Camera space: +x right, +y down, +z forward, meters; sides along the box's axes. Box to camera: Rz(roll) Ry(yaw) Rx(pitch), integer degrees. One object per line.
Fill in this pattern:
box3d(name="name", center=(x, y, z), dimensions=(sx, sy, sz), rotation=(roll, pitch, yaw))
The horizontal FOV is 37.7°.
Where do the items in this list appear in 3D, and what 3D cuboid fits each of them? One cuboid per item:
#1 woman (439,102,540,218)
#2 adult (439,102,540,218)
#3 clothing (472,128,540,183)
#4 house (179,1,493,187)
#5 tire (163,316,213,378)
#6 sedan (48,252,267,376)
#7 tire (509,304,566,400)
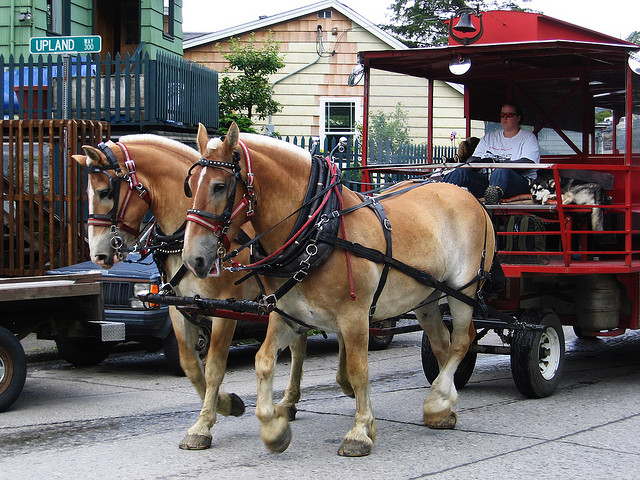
box3d(name="woman", center=(2.258, -1.097, 12.519), dimensions=(1.031, 1.537, 1.611), rotation=(-2, -5, 41))
box3d(name="adult", center=(2.280, -1.124, 12.596), dimensions=(1.028, 1.519, 1.538), rotation=(-2, -5, 37))
box3d(name="clothing", center=(2.620, -1.221, 13.155), dimensions=(1.007, 0.680, 0.571), rotation=(9, 14, 29))
box3d(name="house", center=(0.220, -2.633, 17.501), dimensions=(6.066, 3.365, 7.034), rotation=(1, 1, 1))
box3d(name="tire", center=(-1.623, 1.311, 11.988), dimensions=(0.228, 0.614, 0.688), rotation=(-6, -8, 34))
box3d(name="sedan", center=(-2.235, 1.028, 12.725), dimensions=(1.575, 1.285, 2.794), rotation=(-1, -5, 36))
box3d(name="tire", center=(2.507, 1.305, 10.820), dimensions=(1.088, 1.068, 0.344), rotation=(-7, 1, -42))
